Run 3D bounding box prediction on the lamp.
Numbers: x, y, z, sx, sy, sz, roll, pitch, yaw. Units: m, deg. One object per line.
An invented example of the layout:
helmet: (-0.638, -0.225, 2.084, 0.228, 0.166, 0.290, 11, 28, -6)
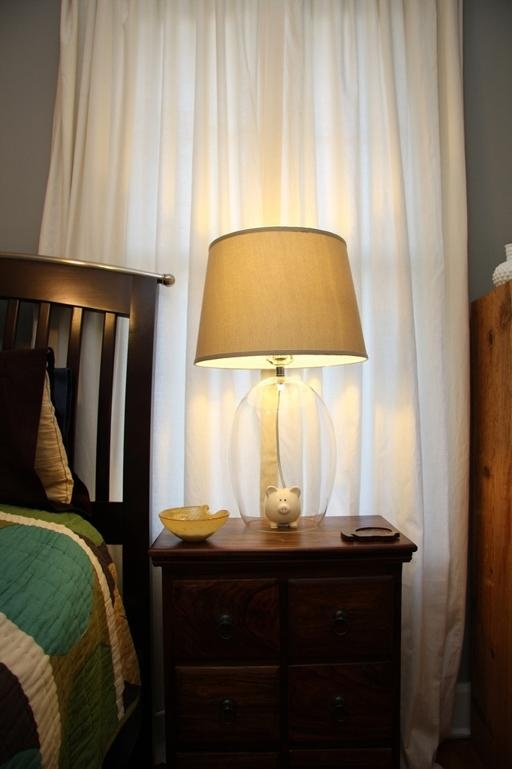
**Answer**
lamp: (0.054, 0.003, 1.359, 0.372, 0.652, 0.362, 2, -3, 0)
